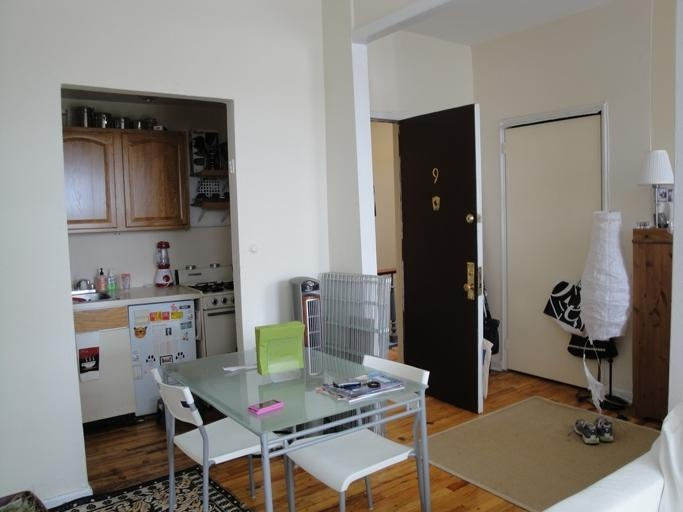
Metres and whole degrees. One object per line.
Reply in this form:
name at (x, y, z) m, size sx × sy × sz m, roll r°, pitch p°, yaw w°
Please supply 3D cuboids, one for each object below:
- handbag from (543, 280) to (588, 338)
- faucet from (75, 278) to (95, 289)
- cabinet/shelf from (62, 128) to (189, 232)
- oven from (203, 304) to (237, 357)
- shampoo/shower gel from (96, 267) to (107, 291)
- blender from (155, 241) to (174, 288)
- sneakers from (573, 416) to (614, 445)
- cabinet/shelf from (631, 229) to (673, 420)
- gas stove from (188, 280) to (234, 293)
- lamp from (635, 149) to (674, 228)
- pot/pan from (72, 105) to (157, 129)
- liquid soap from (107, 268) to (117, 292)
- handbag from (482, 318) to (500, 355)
handbag at (2.112, 0.488, 4.852) m, size 0.299 × 0.562 × 0.309 m, roll -39°, pitch 33°, yaw -14°
faucet at (-2.452, 0.258, 4.952) m, size 0.100 × 0.110 × 0.113 m, roll 1°, pitch 0°, yaw -1°
cabinet/shelf at (-2.112, -0.737, 4.949) m, size 0.963 × 0.855 × 0.317 m, roll -5°, pitch 11°, yaw -29°
oven at (-1.192, 0.652, 5.046) m, size 0.339 × 0.513 × 0.343 m, roll -5°, pitch 23°, yaw -17°
shampoo/shower gel at (-2.335, 0.225, 5.035) m, size 0.097 × 0.221 × 0.143 m, roll -4°, pitch 10°, yaw -13°
blender at (-1.823, 0.082, 5.300) m, size 0.171 × 0.434 × 0.177 m, roll -5°, pitch 10°, yaw -19°
sneakers at (1.929, 1.304, 3.985) m, size 0.165 × 0.087 × 0.228 m, roll -2°, pitch 9°, yaw 11°
cabinet/shelf at (2.488, 0.562, 4.186) m, size 0.295 × 1.555 × 0.191 m, roll 3°, pitch 11°, yaw 29°
gas stove at (-1.272, 0.299, 5.103) m, size 0.400 × 0.036 × 0.517 m, roll -6°, pitch 11°, yaw -20°
lamp at (2.519, -0.536, 4.154) m, size 0.220 × 0.611 × 0.338 m, roll 4°, pitch 11°, yaw 31°
pot/pan at (-2.201, -1.344, 5.051) m, size 0.838 × 0.241 × 0.289 m, roll -8°, pitch 11°, yaw -29°
liquid soap at (-2.245, 0.227, 5.069) m, size 0.088 × 0.197 × 0.155 m, roll -7°, pitch 11°, yaw -24°
handbag at (1.546, 0.846, 5.331) m, size 0.108 × 0.442 × 0.351 m, roll 4°, pitch 11°, yaw 32°
